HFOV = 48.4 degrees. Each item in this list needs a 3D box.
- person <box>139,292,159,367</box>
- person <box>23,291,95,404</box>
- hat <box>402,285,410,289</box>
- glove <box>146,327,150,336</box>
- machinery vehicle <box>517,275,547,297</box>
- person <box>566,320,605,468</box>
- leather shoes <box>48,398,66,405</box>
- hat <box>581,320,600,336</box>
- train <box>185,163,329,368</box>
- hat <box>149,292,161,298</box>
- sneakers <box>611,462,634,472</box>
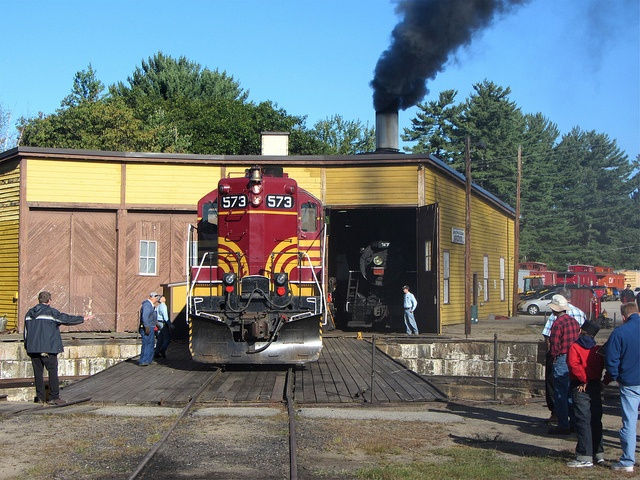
[{"bbox_3d":[-4.635,2.384,19.348,0.453,1.942,0.894,0,-5,-13],"label":"person"},{"bbox_3d":[-6.052,2.361,16.030,1.262,2.455,0.711,-3,-6,26],"label":"person"},{"bbox_3d":[3.090,1.687,25.775,0.154,0.094,0.117,15,0,11],"label":"hat"},{"bbox_3d":[-4.564,2.395,18.934,0.114,0.183,0.063,0,-5,-14],"label":"glove"},{"bbox_3d":[16.127,3.365,54.312,1.800,1.870,1.331,-4,-4,36],"label":"machinery vehicle"},{"bbox_3d":[4.676,2.791,12.505,0.637,2.224,0.563,-2,-5,11],"label":"person"},{"bbox_3d":[-5.691,3.493,15.452,0.408,0.190,0.153,-2,-2,2],"label":"leather shoes"},{"bbox_3d":[4.975,1.628,13.179,0.234,0.219,0.331,22,-5,16],"label":"hat"},{"bbox_3d":[-1.553,0.599,17.868,3.279,4.981,1.348,-1,-5,-1],"label":"train"},{"bbox_3d":[-4.543,1.526,19.948,0.378,0.147,0.239,-2,2,-34],"label":"hat"},{"bbox_3d":[5.109,3.856,12.129,0.361,0.166,0.154,5,2,38],"label":"sneakers"}]
